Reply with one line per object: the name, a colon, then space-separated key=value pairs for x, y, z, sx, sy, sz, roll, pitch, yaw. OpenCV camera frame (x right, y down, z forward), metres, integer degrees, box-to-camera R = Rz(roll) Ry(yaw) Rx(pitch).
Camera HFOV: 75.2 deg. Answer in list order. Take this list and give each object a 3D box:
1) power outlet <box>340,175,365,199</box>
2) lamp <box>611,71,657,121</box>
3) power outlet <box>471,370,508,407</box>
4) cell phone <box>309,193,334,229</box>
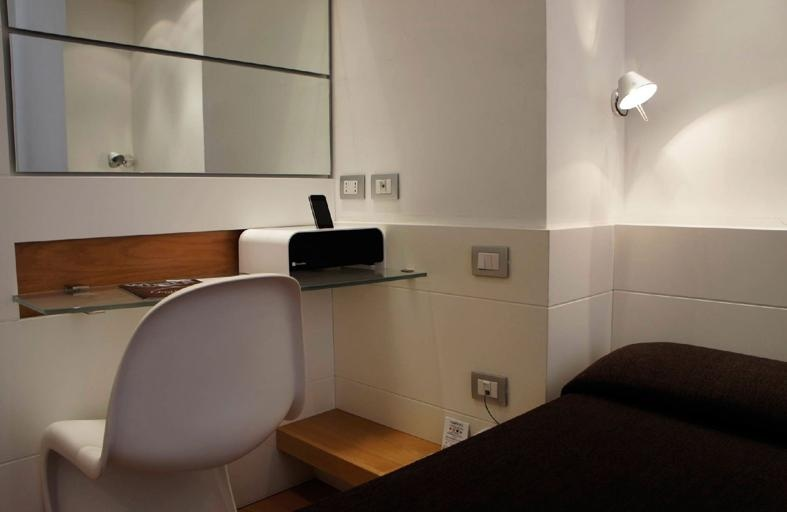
power outlet: x=-0.215 y=-0.364 z=2.670 sx=0.177 sy=0.121 sz=0.024 roll=5 pitch=10 yaw=44
lamp: x=1.077 y=-0.716 z=2.297 sx=0.183 sy=0.195 sz=0.205 roll=2 pitch=8 yaw=28
power outlet: x=0.418 y=0.570 z=2.216 sx=0.165 sy=0.132 sz=0.037 roll=3 pitch=6 yaw=44
cell phone: x=-0.361 y=-0.225 z=2.524 sx=0.102 sy=0.165 sz=0.217 roll=-4 pitch=8 yaw=-19
